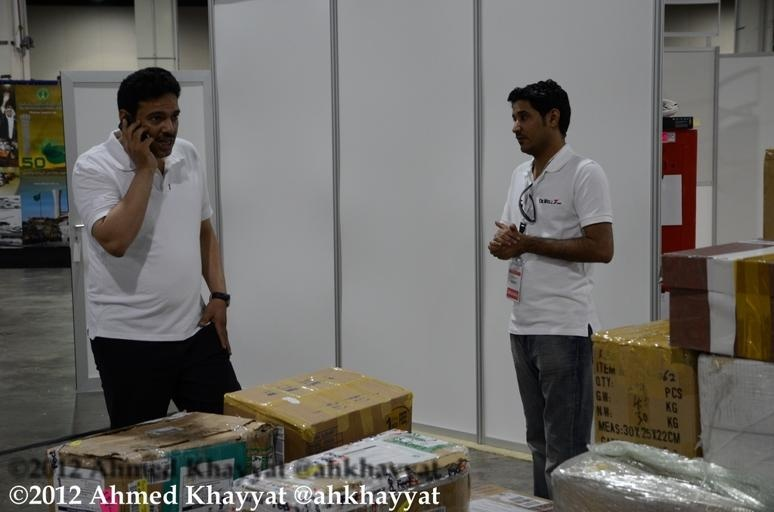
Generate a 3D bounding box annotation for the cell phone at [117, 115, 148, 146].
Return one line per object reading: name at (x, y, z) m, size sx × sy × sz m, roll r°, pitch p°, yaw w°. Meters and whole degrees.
cell phone at (-1.062, -0.532, 3.356) m, size 0.038 × 0.125 × 0.116 m, roll -4°, pitch -18°, yaw -47°

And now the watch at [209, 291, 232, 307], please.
watch at (-0.754, 0.198, 3.587) m, size 0.065 × 0.040 × 0.073 m, roll 4°, pitch 2°, yaw -8°
